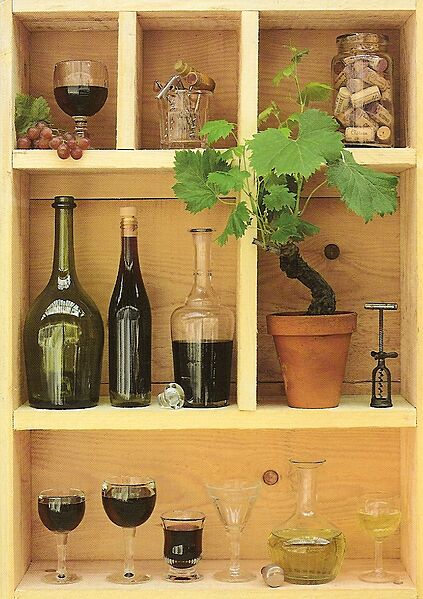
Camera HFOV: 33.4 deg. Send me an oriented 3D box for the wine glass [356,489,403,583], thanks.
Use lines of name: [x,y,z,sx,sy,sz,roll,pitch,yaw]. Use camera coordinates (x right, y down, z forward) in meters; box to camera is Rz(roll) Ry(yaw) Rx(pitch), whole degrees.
wine glass: [0.304,0.417,1.279,0.073,0.170,0.173,-2,4,14]

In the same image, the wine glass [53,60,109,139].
wine glass: [-0.237,-0.350,1.277,0.098,0.138,0.098,6,11,25]

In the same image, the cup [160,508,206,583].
cup: [-0.050,0.436,1.253,0.088,0.103,0.084,-2,-4,0]

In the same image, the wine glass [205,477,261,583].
wine glass: [0.041,0.411,1.281,0.092,0.188,0.168,-3,4,-1]

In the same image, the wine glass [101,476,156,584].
wine glass: [-0.148,0.408,1.271,0.090,0.198,0.191,-4,4,-10]

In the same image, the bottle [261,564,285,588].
bottle: [0.102,0.463,1.183,0.034,0.035,0.035,0,13,-3]

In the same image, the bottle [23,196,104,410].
bottle: [-0.264,0.015,1.240,0.134,0.350,0.078,-4,4,-13]

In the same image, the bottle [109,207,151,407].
bottle: [-0.151,0.013,1.263,0.077,0.350,0.093,-3,4,-5]

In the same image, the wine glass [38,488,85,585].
wine glass: [-0.267,0.420,1.284,0.085,0.179,0.184,-4,4,-12]

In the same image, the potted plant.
potted plant: [0.152,-0.144,1.202,0.431,0.657,0.409,-3,4,-4]

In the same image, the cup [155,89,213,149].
cup: [-0.046,-0.317,1.288,0.102,0.098,0.103,1,-2,0]
